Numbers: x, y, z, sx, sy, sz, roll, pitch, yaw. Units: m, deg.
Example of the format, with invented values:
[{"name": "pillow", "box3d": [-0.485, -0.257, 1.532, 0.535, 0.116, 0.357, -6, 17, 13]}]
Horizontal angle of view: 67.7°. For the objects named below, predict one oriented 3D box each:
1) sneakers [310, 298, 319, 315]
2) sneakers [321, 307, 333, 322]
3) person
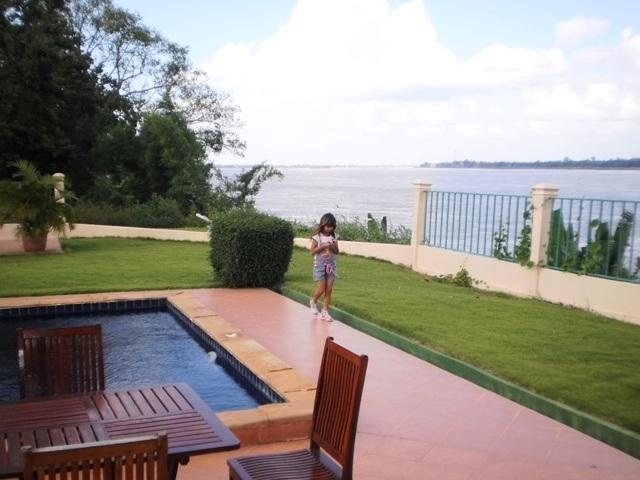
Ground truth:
[{"name": "sneakers", "box3d": [-0.105, 1.153, 8.352, 0.129, 0.272, 0.118, -5, -22, -37]}, {"name": "sneakers", "box3d": [0.107, 1.270, 8.082, 0.112, 0.129, 0.293, -2, -3, -20]}, {"name": "person", "box3d": [0.067, 0.426, 8.333, 0.480, 1.808, 1.060, 2, 7, 0]}]
